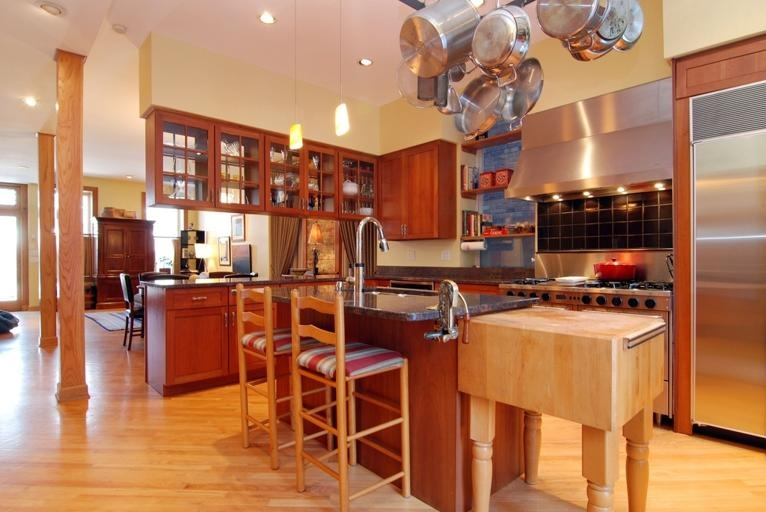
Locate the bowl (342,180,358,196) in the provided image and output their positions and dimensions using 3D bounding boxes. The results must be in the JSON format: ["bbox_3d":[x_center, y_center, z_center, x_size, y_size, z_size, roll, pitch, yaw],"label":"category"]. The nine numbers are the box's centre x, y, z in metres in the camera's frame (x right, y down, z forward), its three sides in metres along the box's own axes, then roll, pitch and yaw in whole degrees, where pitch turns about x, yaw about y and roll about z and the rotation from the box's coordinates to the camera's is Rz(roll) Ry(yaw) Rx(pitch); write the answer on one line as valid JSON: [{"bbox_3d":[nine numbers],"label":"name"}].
[{"bbox_3d":[-0.411,-0.847,7.216,0.190,0.128,0.187,3,-6,0],"label":"bowl"}]

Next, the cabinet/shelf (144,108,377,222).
[{"bbox_3d":[-1.291,-1.001,6.588,2.605,1.052,0.290,-1,1,-32],"label":"cabinet/shelf"}]

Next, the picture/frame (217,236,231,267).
[{"bbox_3d":[-3.037,-0.081,10.976,0.068,0.623,0.587,-3,4,-38],"label":"picture/frame"}]

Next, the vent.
[{"bbox_3d":[2.115,-1.120,5.877,1.567,0.904,0.810,-6,0,37],"label":"vent"}]

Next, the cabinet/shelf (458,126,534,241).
[{"bbox_3d":[1.317,-0.817,6.606,0.419,1.281,1.407,3,-4,-34],"label":"cabinet/shelf"}]

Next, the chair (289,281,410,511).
[{"bbox_3d":[-0.357,1.041,4.444,0.672,1.589,1.014,-2,1,-40],"label":"chair"}]

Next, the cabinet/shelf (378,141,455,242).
[{"bbox_3d":[0.457,-0.789,7.040,0.514,1.315,1.406,1,-2,-35],"label":"cabinet/shelf"}]
